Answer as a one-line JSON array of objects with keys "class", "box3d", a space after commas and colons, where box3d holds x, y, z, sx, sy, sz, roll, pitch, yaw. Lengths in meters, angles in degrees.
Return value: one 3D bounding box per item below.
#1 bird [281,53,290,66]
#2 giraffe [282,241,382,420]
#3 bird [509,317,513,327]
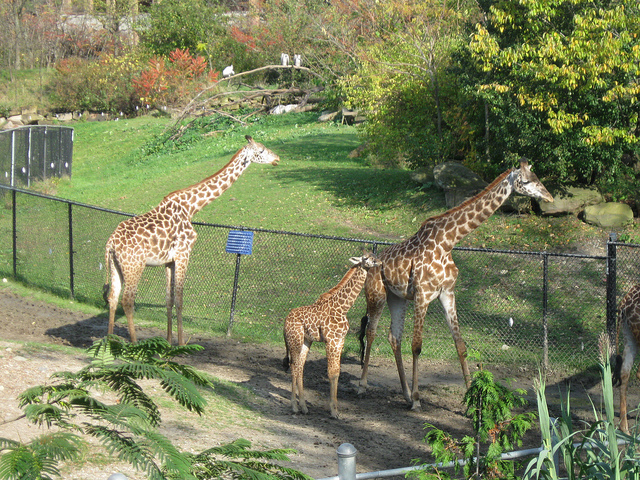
[{"class": "bird", "box3d": [-1.701, -9.511, 53.328, 0.346, 0.877, 0.602, 1, 8, -17]}, {"class": "giraffe", "box3d": [0.205, 2.161, 25.850, 2.071, 4.228, 2.275, 4, 5, 3]}, {"class": "bird", "box3d": [5.349, 2.347, 28.710, 0.175, 0.333, 0.084, 13, -19, -32]}]
